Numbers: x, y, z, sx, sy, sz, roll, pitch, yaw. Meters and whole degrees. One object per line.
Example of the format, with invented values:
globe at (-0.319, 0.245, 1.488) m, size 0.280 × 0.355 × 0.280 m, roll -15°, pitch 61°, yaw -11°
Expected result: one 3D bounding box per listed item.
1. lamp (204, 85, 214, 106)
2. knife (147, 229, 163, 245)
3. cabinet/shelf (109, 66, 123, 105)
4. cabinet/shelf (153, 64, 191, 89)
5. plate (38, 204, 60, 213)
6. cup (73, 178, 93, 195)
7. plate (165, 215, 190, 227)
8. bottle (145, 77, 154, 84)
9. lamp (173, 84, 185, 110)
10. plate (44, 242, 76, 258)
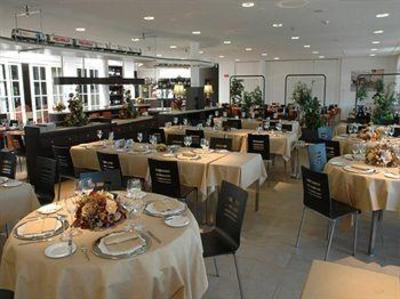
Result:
lamp at (0.353, -2.294, 12.194) m, size 0.463 × 0.991 × 0.492 m, roll 0°, pitch 0°, yaw 39°
knife at (-0.330, 0.653, 2.130) m, size 0.047 × 0.019 × 0.336 m, roll -2°, pitch 8°, yaw -24°
cabinet/shelf at (-3.743, -2.693, 12.620) m, size 0.727 × 1.880 × 0.349 m, roll -12°, pitch 26°, yaw -35°
cabinet/shelf at (-1.315, -3.684, 14.394) m, size 1.708 × 0.882 × 2.544 m, roll -1°, pitch 15°, yaw 5°
plate at (-1.357, 0.536, 2.567) m, size 0.109 × 0.021 × 0.113 m, roll 14°, pitch 15°, yaw 42°
cup at (-0.996, 0.309, 2.435) m, size 0.140 × 0.142 × 0.148 m, roll 0°, pitch 9°, yaw 0°
plate at (-0.186, 0.598, 2.370) m, size 0.196 × 0.033 × 0.189 m, roll -5°, pitch 10°, yaw -26°
bottle at (-1.994, -2.785, 11.591) m, size 0.383 × 0.285 × 0.929 m, roll -2°, pitch 9°, yaw -9°
lamp at (-0.721, -1.782, 9.742) m, size 0.435 × 0.906 × 0.452 m, roll 9°, pitch 9°, yaw 41°
plate at (-0.992, 0.713, 2.019) m, size 0.207 × 0.033 × 0.162 m, roll 3°, pitch 10°, yaw 18°
